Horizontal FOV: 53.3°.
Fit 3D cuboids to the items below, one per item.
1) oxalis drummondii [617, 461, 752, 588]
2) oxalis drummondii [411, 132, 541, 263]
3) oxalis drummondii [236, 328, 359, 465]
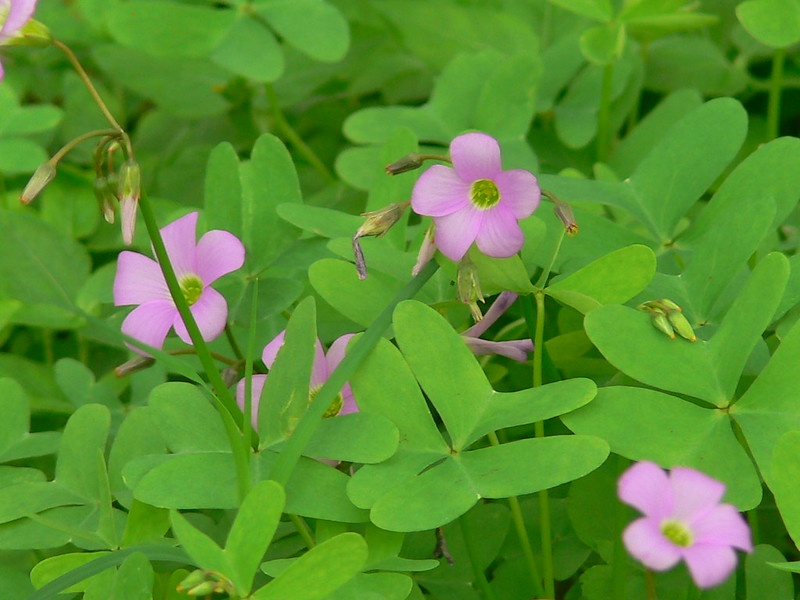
[{"bbox_3d":[0.196,0.155,0.552,0.086,0.048,0.085,-2,37,16],"label":"oxalis drummondii"},{"bbox_3d":[0.061,-0.079,0.634,0.080,0.085,0.089,-32,39,-24],"label":"oxalis drummondii"},{"bbox_3d":[-0.105,0.071,0.725,0.110,0.115,0.030,-36,40,0],"label":"oxalis drummondii"}]
